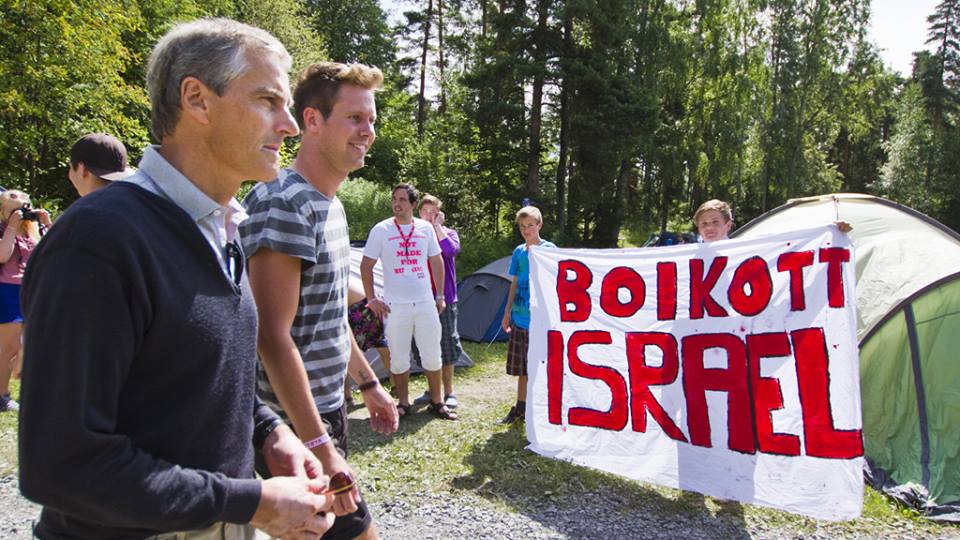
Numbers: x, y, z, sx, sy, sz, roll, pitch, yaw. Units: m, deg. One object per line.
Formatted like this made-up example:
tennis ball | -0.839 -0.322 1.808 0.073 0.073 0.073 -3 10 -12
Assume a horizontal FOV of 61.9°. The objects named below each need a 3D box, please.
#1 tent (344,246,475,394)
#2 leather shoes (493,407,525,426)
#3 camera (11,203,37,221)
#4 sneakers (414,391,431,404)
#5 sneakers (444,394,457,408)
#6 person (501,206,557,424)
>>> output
tent | -1.534 0.801 13.372 2.385 1.061 2.328 -2 3 -16
leather shoes | 0.518 2.394 13.116 0.398 0.266 0.161 1 2 1
camera | -7.219 -0.925 12.665 0.235 0.193 0.319 7 12 27
sneakers | -0.964 2.199 13.657 0.308 0.127 0.163 -1 1 -29
sneakers | -0.500 2.230 13.519 0.159 0.207 0.213 -1 -11 -12
person | 0.695 0.739 13.197 0.646 3.525 0.673 2 2 19
